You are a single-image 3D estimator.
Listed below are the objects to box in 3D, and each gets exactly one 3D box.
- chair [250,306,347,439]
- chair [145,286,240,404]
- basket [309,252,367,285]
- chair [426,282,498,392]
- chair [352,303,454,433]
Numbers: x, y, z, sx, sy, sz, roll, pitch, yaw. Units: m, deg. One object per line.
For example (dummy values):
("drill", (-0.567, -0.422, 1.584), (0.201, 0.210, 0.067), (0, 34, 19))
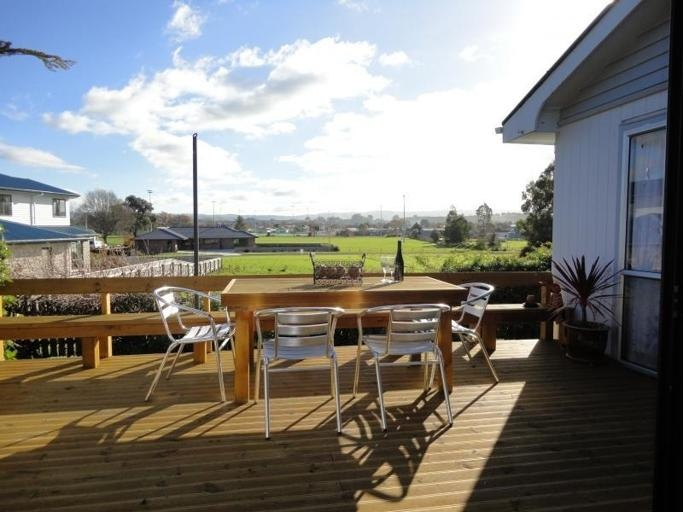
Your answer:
("chair", (-0.467, 0.833, 4.599), (1.011, 1.486, 1.081), (-2, 14, -10))
("chair", (-1.551, 0.872, 4.924), (0.945, 1.047, 0.953), (-3, 4, -20))
("basket", (-0.059, 0.156, 5.053), (0.700, 0.361, 0.451), (1, 0, -2))
("chair", (1.265, 0.788, 5.220), (0.888, 0.973, 0.886), (4, 6, 26))
("chair", (0.427, 0.895, 4.728), (1.006, 1.301, 1.036), (-1, 11, -7))
